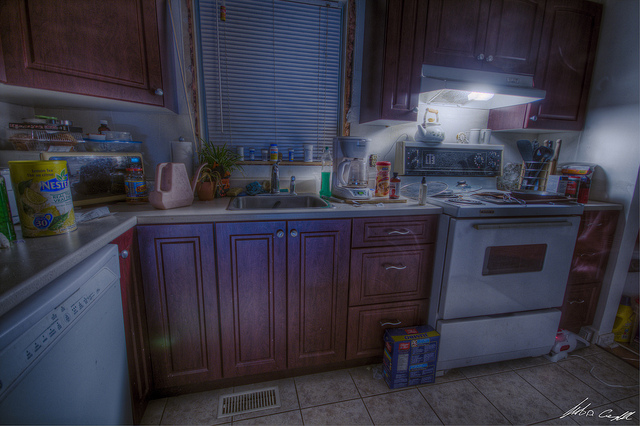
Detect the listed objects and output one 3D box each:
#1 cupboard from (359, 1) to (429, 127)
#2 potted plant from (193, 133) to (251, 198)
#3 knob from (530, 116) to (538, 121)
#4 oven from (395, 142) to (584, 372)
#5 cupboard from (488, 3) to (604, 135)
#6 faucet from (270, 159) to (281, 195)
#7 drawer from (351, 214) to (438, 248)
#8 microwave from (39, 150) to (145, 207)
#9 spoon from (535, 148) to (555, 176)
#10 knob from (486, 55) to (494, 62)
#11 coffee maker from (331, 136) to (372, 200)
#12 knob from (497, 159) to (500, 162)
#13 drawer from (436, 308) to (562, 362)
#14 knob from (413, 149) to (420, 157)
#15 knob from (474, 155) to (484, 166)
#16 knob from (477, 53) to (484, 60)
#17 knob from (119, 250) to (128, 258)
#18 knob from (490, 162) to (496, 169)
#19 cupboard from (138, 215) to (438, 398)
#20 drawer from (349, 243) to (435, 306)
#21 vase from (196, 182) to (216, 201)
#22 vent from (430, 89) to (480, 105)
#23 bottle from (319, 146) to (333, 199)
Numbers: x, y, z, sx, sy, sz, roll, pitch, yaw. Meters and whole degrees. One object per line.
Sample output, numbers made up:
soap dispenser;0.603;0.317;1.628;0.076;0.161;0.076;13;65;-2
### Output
cupboard;0.539;-1.166;3.094;0.359;0.974;0.487;-8;16;-26
potted plant;-0.752;-0.319;3.023;0.448;0.360;0.447;-4;-2;10
knob;1.717;-0.761;3.196;0.039;0.034;0.054;-8;14;3
oven;1.319;0.262;3.143;1.240;1.623;0.807;-4;14;-10
cupboard;1.822;-1.149;3.428;0.711;1.038;0.466;-2;15;-13
faucet;-0.343;-0.266;3.056;0.081;0.225;0.116;-3;14;-6
drawer;0.507;0.115;2.738;0.403;0.123;0.286;-2;10;-11
microwave;-1.460;-0.273;2.863;0.650;0.392;0.365;-1;10;5
spoon;1.730;-0.405;3.108;0.069;0.254;0.067;27;22;35
knob;1.282;-1.168;3.016;0.048;0.042;0.012;2;6;-6
coffee maker;0.275;-0.362;3.086;0.296;0.461;0.377;0;10;-13
knob;1.505;-0.450;3.377;0.021;0.019;0.008;10;6;9
drawer;1.292;0.872;2.904;0.951;0.292;0.067;-3;15;-10
knob;0.777;-0.488;3.219;0.055;0.054;0.023;-2;14;-2
knob;1.327;-0.442;3.311;0.083;0.078;0.024;0;1;-9
knob;1.203;-1.181;3.001;0.049;0.044;0.016;6;4;19
knob;-1.151;0.239;2.349;0.013;0.028;0.039;12;28;40
knob;1.453;-0.408;3.369;0.056;0.053;0.021;0;10;-2
cupboard;-0.237;0.589;2.964;2.017;1.099;0.571;-2;1;-18
drawer;0.480;0.402;2.857;0.690;0.459;0.417;-2;12;-11
vase;-0.796;-0.154;2.799;0.123;0.102;0.127;-1;4;-25
vent;1.097;-0.929;3.195;0.348;0.098;0.344;-3;13;-7
bottle;0.063;-0.321;3.205;0.141;0.381;0.131;0;5;0
